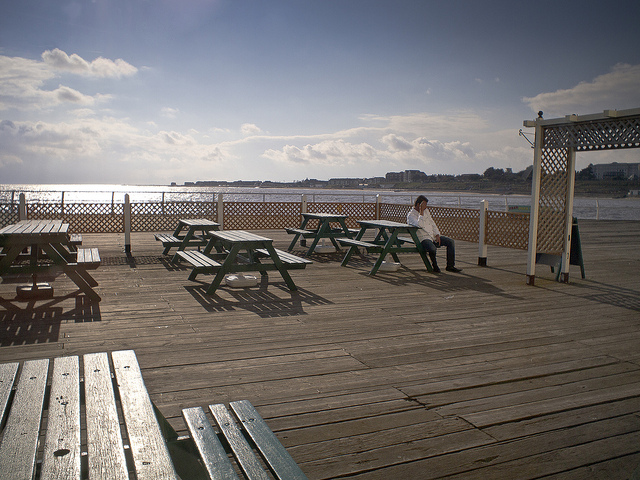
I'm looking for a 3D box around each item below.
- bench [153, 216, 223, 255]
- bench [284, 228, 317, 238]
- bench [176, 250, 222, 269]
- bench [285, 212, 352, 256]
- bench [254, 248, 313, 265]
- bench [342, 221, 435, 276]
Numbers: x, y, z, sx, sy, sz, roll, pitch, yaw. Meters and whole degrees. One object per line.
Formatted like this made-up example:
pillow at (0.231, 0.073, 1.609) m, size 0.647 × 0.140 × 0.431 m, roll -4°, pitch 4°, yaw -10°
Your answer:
bench at (-2.416, -0.018, 8.305) m, size 1.303 × 0.712 × 1.405 m, roll 1°, pitch 5°, yaw -31°
bench at (-0.358, -0.143, 8.700) m, size 0.429 × 0.141 × 0.551 m, roll -3°, pitch 8°, yaw -30°
bench at (-1.586, 0.283, 5.676) m, size 0.322 × 0.117 × 1.290 m, roll -3°, pitch 8°, yaw -27°
bench at (0.097, -0.132, 9.385) m, size 1.312 × 0.916 × 1.376 m, roll 1°, pitch 4°, yaw -19°
bench at (-0.383, 0.220, 5.638) m, size 0.341 × 0.096 × 0.952 m, roll -1°, pitch 7°, yaw -12°
bench at (1.106, 0.076, 7.382) m, size 1.264 × 0.764 × 1.471 m, roll -2°, pitch 7°, yaw -21°
